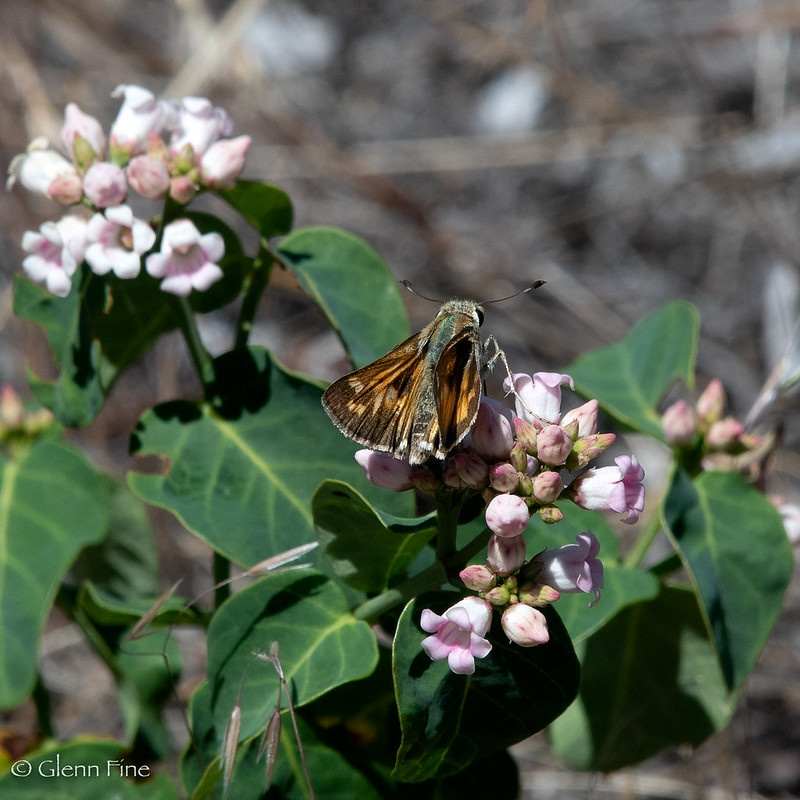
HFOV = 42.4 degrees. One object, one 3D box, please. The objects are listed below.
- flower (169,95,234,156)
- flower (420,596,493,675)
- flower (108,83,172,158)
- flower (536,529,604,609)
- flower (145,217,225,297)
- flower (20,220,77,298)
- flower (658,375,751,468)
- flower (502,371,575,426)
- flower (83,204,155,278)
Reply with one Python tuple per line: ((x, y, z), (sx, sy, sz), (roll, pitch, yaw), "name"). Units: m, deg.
((-0.469, -0.636, 2.380), (0.136, 0.093, 0.149), (4, 43, 11), "flower")
((0.109, 0.460, 2.053), (0.128, 0.152, 0.077), (38, 89, 2), "flower")
((-0.627, -0.654, 2.368), (0.125, 0.071, 0.145), (20, 82, 12), "flower")
((0.338, 0.347, 2.073), (0.125, 0.144, 0.108), (-3, 44, 3), "flower")
((-0.480, -0.319, 2.316), (0.161, 0.136, 0.132), (-5, 43, 1), "flower")
((-0.787, -0.334, 2.352), (0.161, 0.127, 0.058), (-8, 65, 50), "flower")
((0.751, 0.081, 2.525), (0.226, 0.176, 0.161), (-26, 47, -20), "flower")
((0.292, -0.002, 2.199), (0.126, 0.117, 0.112), (-1, 89, 10), "flower")
((-0.626, -0.349, 2.270), (0.158, 0.110, 0.147), (20, 48, 25), "flower")
